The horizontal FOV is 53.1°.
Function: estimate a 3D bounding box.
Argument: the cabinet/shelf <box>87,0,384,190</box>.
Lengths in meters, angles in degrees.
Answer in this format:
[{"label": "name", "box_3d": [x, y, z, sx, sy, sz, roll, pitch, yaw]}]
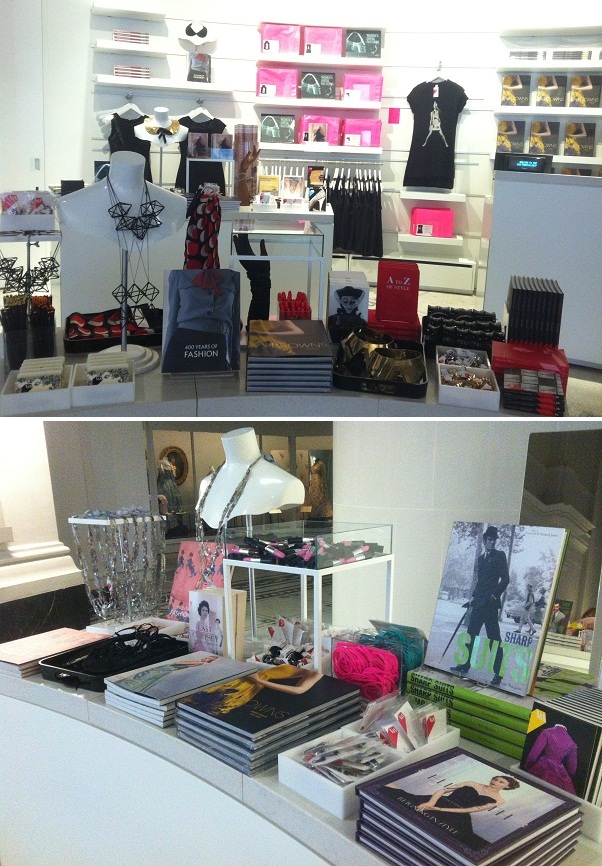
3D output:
[{"label": "cabinet/shelf", "box_3d": [-0.605, -3.459, 6.229, 2.940, 1.644, 0.817, -4, 16, -15]}]

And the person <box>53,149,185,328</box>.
[{"label": "person", "box_3d": [-0.814, -0.903, 2.807, 0.479, 0.802, 0.293, -19, 60, -32]}]
